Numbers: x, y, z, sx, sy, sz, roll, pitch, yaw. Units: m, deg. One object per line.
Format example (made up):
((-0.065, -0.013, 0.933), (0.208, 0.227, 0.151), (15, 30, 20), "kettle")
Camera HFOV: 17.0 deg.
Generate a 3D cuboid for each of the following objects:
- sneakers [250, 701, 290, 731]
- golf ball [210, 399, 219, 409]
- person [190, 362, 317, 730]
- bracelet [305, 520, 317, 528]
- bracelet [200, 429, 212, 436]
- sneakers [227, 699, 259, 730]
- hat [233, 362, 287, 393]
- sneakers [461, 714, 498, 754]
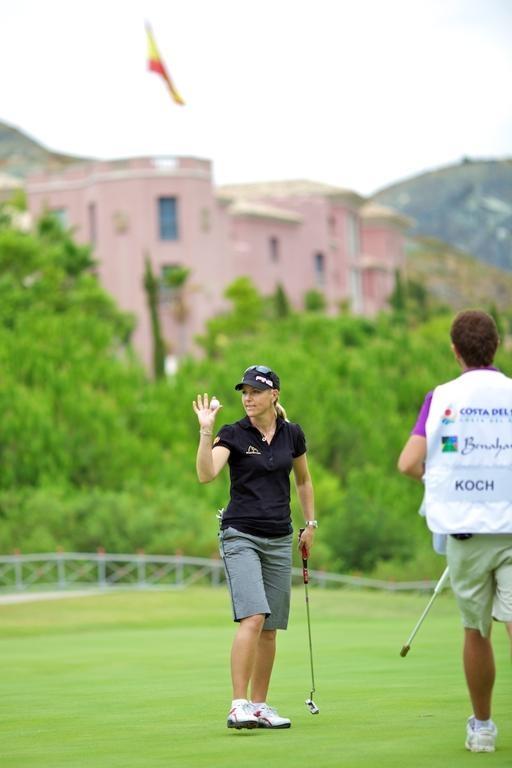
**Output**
((0.060, 1.573, 8.050), (0.249, 0.109, 0.087), (5, -15, 29), "sneakers")
((-0.188, 0.096, 7.985), (0.040, 0.041, 0.051), (-13, -39, -5), "golf ball")
((0.011, 0.762, 8.201), (0.324, 1.506, 0.815), (-5, -2, 27), "person")
((0.280, 0.705, 8.498), (0.072, 0.044, 0.075), (0, -6, -2), "bracelet")
((-0.232, 0.229, 7.885), (0.048, 0.028, 0.116), (-4, -2, 0), "bracelet")
((-0.064, 1.519, 7.832), (0.077, 0.096, 0.208), (3, -21, -6), "sneakers")
((0.017, -0.028, 8.233), (0.120, 0.085, 0.171), (-7, -17, 37), "hat")
((0.977, 1.548, 7.493), (0.126, 0.144, 0.338), (0, -8, 6), "sneakers")
